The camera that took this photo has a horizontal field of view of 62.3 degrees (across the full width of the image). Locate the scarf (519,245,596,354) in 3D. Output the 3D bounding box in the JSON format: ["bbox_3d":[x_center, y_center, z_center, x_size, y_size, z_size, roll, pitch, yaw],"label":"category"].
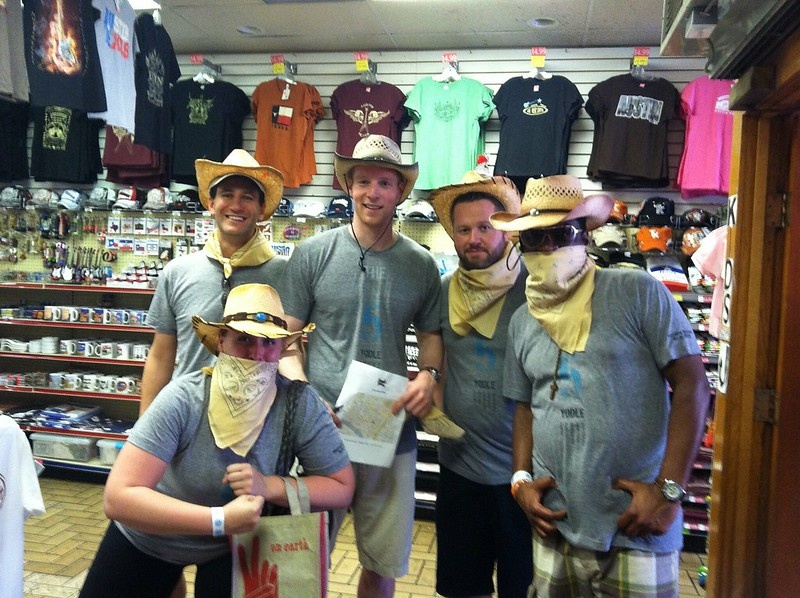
[{"bbox_3d":[0.690,-0.001,2.859,0.337,0.442,0.150,-1,0,18],"label":"scarf"}]

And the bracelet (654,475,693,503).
[{"bbox_3d":[1.076,0.769,2.664,0.113,0.080,0.105,41,-4,17],"label":"bracelet"}]

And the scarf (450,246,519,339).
[{"bbox_3d":[0.416,-0.053,3.391,0.360,0.456,0.182,13,13,32],"label":"scarf"}]

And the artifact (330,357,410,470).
[{"bbox_3d":[-0.156,0.576,3.283,0.449,0.497,0.107,22,-32,25],"label":"artifact"}]

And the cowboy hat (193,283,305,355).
[{"bbox_3d":[-0.687,0.115,2.998,0.365,0.167,0.388,6,-20,-13],"label":"cowboy hat"}]

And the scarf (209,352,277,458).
[{"bbox_3d":[-0.677,0.444,2.804,0.287,0.411,0.098,5,-8,-4],"label":"scarf"}]

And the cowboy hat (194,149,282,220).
[{"bbox_3d":[-0.886,-0.674,3.862,0.403,0.185,0.480,2,-24,-6],"label":"cowboy hat"}]

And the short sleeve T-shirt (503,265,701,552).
[{"bbox_3d":[0.822,0.450,2.865,0.807,1.166,0.325,4,4,23],"label":"short sleeve T-shirt"}]

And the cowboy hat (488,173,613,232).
[{"bbox_3d":[0.698,-0.426,2.966,0.333,0.148,0.347,-6,2,39],"label":"cowboy hat"}]

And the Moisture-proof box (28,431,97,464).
[{"bbox_3d":[-3.105,1.380,6.126,0.467,0.172,0.312,3,-3,1],"label":"Moisture-proof box"}]

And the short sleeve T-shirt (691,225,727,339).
[{"bbox_3d":[2.082,-0.131,4.361,0.166,0.536,0.439,-8,8,35],"label":"short sleeve T-shirt"}]

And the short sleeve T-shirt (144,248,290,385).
[{"bbox_3d":[-0.902,0.094,3.325,0.646,0.716,0.261,8,-10,9],"label":"short sleeve T-shirt"}]

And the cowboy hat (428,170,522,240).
[{"bbox_3d":[0.386,-0.558,3.459,0.363,0.184,0.429,-15,-34,28],"label":"cowboy hat"}]

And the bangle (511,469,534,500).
[{"bbox_3d":[0.546,0.831,2.978,0.090,0.120,0.088,2,0,-8],"label":"bangle"}]
